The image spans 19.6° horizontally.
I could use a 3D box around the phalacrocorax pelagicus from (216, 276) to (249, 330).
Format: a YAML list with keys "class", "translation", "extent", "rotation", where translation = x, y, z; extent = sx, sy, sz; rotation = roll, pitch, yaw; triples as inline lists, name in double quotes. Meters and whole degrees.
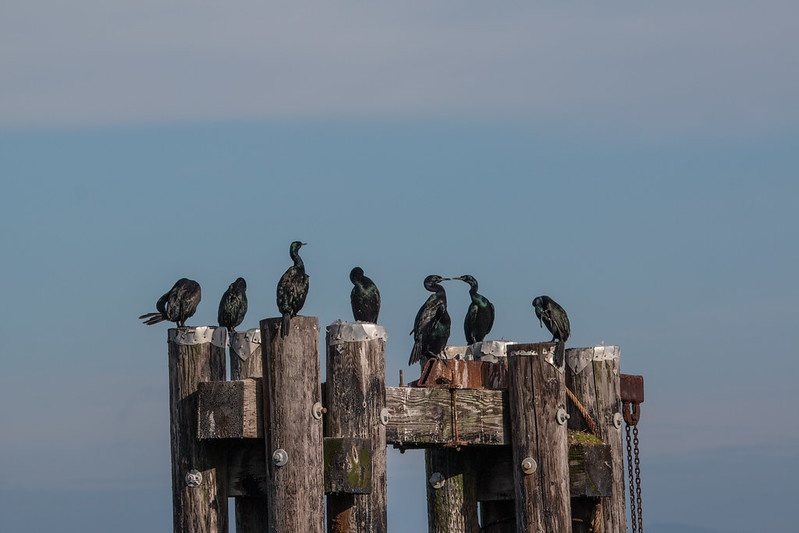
- class: "phalacrocorax pelagicus"
  translation: [-2.027, 0.526, 27.919]
  extent: [0.160, 0.639, 0.260]
  rotation: [7, -3, -1]

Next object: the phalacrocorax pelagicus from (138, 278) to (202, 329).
- class: "phalacrocorax pelagicus"
  translation: [-3.073, 0.503, 31.095]
  extent: [0.502, 0.752, 1.095]
  rotation: [8, 6, 44]

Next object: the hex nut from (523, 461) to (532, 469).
- class: "hex nut"
  translation: [1.722, 2.500, 28.717]
  extent: [0.095, 0.102, 0.023]
  rotation: [-5, -4, 22]

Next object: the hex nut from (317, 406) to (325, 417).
- class: "hex nut"
  translation: [-0.885, 1.750, 27.501]
  extent: [0.047, 0.087, 0.151]
  rotation: [-28, -3, -11]
